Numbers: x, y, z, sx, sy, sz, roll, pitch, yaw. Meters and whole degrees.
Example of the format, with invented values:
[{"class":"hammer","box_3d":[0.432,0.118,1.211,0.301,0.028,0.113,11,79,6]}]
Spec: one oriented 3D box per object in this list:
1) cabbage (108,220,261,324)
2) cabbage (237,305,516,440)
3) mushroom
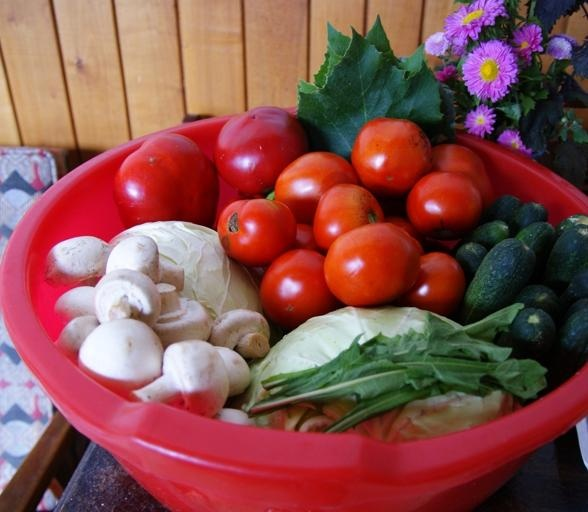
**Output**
[{"class":"cabbage","box_3d":[-0.125,0.015,0.736,0.186,0.117,0.187,21,29,41]},{"class":"cabbage","box_3d":[0.089,0.073,0.511,0.228,0.129,0.172,18,26,39]},{"class":"mushroom","box_3d":[-0.108,0.085,0.578,0.224,0.192,0.187,26,36,37]}]
